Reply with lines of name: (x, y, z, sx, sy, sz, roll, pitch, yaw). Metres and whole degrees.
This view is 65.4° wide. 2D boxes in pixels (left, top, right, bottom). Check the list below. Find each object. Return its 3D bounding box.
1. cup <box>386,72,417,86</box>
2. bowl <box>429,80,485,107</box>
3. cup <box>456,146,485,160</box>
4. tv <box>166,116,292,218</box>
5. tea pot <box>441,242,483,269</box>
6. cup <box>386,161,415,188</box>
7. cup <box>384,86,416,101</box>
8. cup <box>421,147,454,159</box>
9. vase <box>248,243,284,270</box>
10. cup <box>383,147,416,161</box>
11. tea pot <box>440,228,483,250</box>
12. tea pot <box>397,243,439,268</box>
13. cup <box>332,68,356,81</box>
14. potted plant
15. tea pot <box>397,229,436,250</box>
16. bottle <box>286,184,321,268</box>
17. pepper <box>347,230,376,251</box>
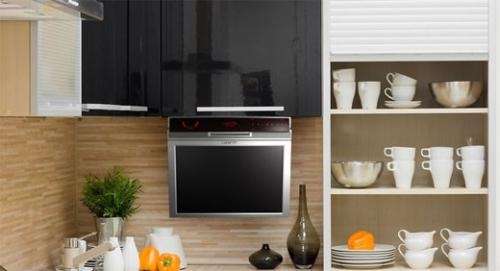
cup: (1.058, -0.397, 2.754, 0.181, 0.073, 0.141, 17, -6, 7)
bowl: (1.471, -0.274, 2.775, 0.369, 0.155, 0.353, 3, 0, 0)
cup: (1.496, 0.119, 2.667, 0.142, 0.076, 0.108, -3, -6, 30)
tv: (-0.162, 0.235, 2.872, 0.916, 0.535, 0.131, -2, 1, 0)
tea pot: (1.428, 0.813, 2.677, 0.246, 0.143, 0.164, 0, -6, 4)
cup: (1.028, 0.240, 2.681, 0.241, 0.182, 0.177, 0, -2, 19)
cup: (1.058, -0.275, 2.739, 0.183, 0.079, 0.134, -3, -6, 17)
cup: (1.294, 0.117, 2.713, 0.201, 0.082, 0.127, -4, -9, 34)
vase: (0.114, 0.881, 2.891, 0.257, 0.148, 0.170, 1, -13, -2)
cup: (1.040, 0.125, 2.719, 0.181, 0.078, 0.120, -4, -8, 36)
tea pot: (1.443, 0.697, 2.692, 0.251, 0.121, 0.170, -1, -4, 8)
tea pot: (1.148, 0.815, 2.686, 0.240, 0.141, 0.162, 0, -6, 6)
cup: (0.654, -0.419, 2.712, 0.129, 0.078, 0.093, -2, 1, -9)
potted plant: (-0.980, 0.525, 3.069, 0.643, 0.616, 0.522, 0, -6, -6)
tea pot: (1.141, 0.697, 2.711, 0.251, 0.128, 0.178, 0, -7, 10)
bottle: (0.379, 0.665, 2.826, 0.225, 0.612, 0.104, -3, 1, 0)
pepper: (0.780, 0.731, 2.694, 0.198, 0.141, 0.144, -12, -19, 19)
